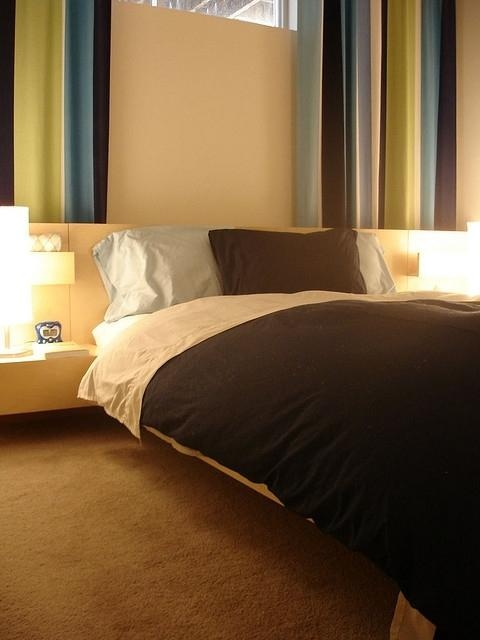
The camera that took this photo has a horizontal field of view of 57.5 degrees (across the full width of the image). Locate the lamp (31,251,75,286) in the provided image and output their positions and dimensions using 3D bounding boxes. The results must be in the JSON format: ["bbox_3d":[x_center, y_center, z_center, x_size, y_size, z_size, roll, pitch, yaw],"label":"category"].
[{"bbox_3d":[-0.957,-0.267,2.253,0.214,0.166,0.101,1,0,-34],"label":"lamp"}]
